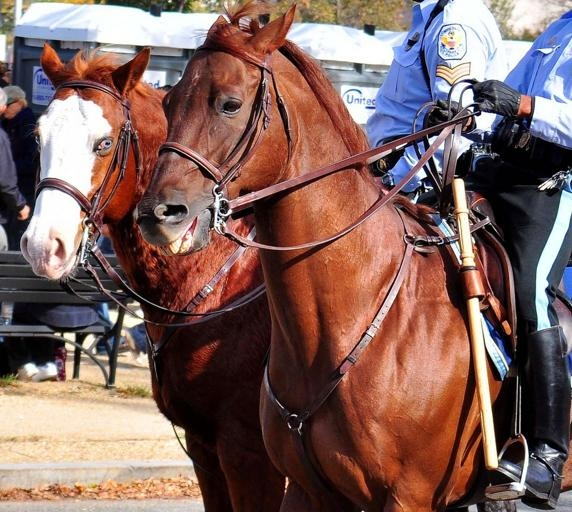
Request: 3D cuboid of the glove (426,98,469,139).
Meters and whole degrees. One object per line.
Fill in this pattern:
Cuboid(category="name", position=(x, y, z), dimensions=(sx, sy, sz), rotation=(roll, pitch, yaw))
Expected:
Cuboid(category="glove", position=(0.699, -0.571, 4.386), dimensions=(0.172, 0.075, 0.127), rotation=(8, 40, -26))

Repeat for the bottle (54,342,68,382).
Cuboid(category="bottle", position=(-1.953, 0.895, 9.087), dimensions=(0.105, 0.293, 0.119), rotation=(3, -9, -16))
